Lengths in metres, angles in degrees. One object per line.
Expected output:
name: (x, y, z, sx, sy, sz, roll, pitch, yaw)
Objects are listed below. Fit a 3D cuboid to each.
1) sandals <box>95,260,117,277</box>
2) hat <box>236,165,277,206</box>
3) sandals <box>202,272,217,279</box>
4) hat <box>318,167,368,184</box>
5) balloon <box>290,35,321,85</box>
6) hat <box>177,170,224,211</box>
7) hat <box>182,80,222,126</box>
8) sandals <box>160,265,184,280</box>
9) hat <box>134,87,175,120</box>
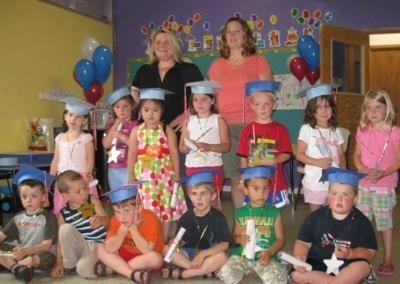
sandals: (-0.781, 1.023, 3.130, 0.198, 0.071, 0.077, 37, -25, -26)
hat: (0.442, 0.344, 3.136, 0.310, 0.274, 0.295, 1, -3, -8)
sandals: (0.078, 1.053, 3.066, 0.122, 0.047, 0.041, 3, 1, 1)
hat: (1.099, 0.261, 3.005, 0.333, 0.145, 0.207, 2, 5, 23)
balloon: (1.501, -1.183, 5.553, 0.422, 0.714, 0.329, 1, 5, 14)
hat: (0.044, 0.360, 3.382, 0.385, 0.341, 0.340, -4, 5, -32)
hat: (-0.039, -0.362, 3.589, 0.356, 0.363, 0.364, -9, 14, -38)
sandals: (-0.215, 1.040, 3.097, 0.195, 0.085, 0.093, 1, 5, 17)
hat: (-0.407, -0.354, 3.577, 0.354, 0.172, 0.280, 2, 0, -4)
